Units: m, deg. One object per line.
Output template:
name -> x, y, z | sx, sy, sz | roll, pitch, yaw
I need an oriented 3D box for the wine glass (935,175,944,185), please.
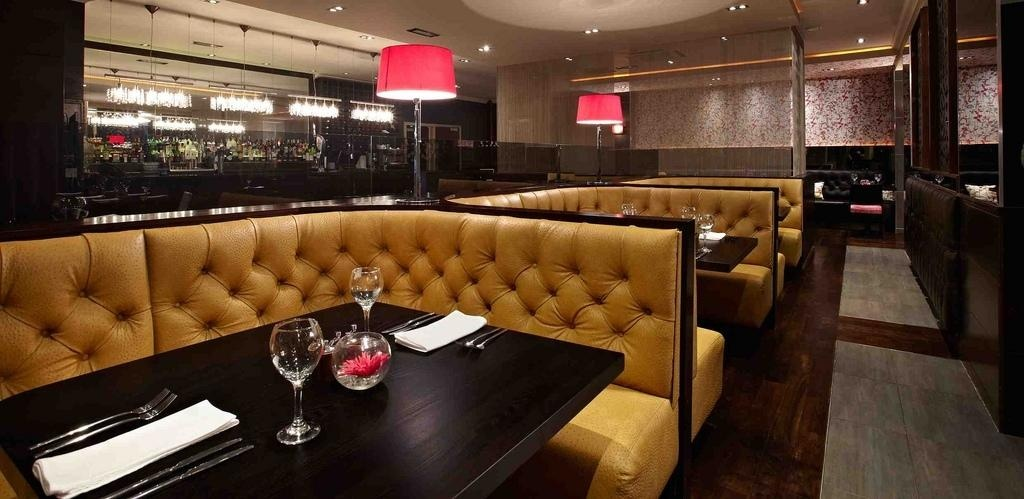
wine glass -> 5.033, -0.808, 6.891 | 0.116, 0.155, 0.050 | 13, -10, -39

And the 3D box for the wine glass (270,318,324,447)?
wine glass -> -1.436, 0.867, 3.896 | 0.335, 0.759, 0.343 | -3, 14, -6

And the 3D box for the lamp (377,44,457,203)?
lamp -> -0.883, -1.180, 5.512 | 0.689, 1.426, 0.548 | -6, 15, -17

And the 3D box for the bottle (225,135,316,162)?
bottle -> -2.724, -1.124, 6.590 | 0.946, 0.273, 0.463 | -6, 15, -20

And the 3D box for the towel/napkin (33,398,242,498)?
towel/napkin -> -2.364, 1.327, 3.918 | 1.255, 0.171, 0.470 | -21, 50, -24

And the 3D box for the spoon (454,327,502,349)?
spoon -> -0.216, 0.622, 4.300 | 0.137, 0.037, 0.246 | 12, 24, 31
